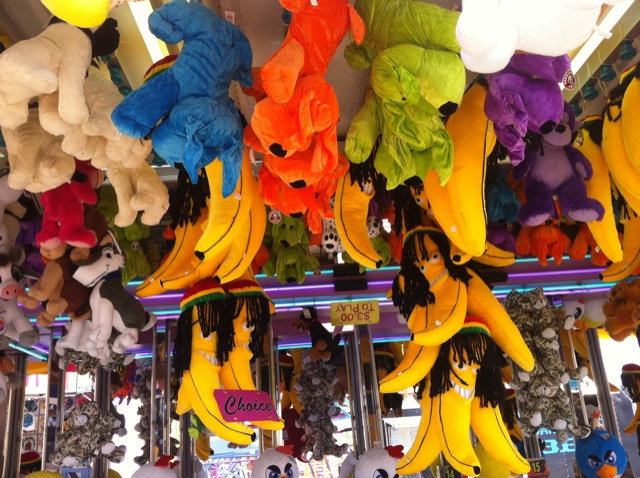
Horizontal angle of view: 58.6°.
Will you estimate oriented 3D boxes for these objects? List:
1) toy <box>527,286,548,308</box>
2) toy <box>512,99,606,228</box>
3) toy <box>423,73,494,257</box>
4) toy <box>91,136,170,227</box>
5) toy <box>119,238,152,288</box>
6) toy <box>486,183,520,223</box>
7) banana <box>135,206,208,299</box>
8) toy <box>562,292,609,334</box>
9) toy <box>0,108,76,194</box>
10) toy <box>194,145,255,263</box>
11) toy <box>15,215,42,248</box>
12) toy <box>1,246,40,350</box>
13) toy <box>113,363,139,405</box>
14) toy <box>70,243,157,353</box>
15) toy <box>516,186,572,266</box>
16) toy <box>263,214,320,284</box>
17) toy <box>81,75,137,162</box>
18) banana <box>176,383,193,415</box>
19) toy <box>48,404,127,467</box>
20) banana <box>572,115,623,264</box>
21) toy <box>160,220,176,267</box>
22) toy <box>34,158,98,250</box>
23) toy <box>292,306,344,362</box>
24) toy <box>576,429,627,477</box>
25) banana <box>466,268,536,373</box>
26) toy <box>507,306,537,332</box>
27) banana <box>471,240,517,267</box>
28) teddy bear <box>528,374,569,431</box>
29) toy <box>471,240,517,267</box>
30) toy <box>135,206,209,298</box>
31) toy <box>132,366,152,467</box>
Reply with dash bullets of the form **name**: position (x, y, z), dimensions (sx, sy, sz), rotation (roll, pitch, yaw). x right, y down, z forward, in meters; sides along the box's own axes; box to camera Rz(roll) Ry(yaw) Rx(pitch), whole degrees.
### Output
- **toy**: position (1.239, 0.349, 3.274), dimensions (0.082, 0.121, 0.045), rotation (-27, -10, -11)
- **toy**: position (1.099, -0.348, 2.644), dimensions (0.334, 0.610, 0.376), rotation (2, 5, 20)
- **toy**: position (0.568, -0.257, 2.293), dimensions (0.208, 0.893, 0.254), rotation (8, -8, -34)
- **toy**: position (-0.741, -0.228, 2.401), dimensions (0.298, 0.201, 0.524), rotation (17, -11, -1)
- **toy**: position (-1.021, 0.143, 3.143), dimensions (0.157, 0.241, 0.073), rotation (-15, 8, -43)
- **toy**: position (0.862, -0.159, 2.770), dimensions (0.188, 0.221, 0.092), rotation (0, 0, -33)
- **banana**: position (-0.702, 0.064, 2.678), dimensions (0.096, 0.506, 0.162), rotation (27, -6, 2)
- **toy**: position (1.919, 0.515, 4.025), dimensions (0.154, 0.248, 0.300), rotation (13, 17, 23)
- **toy**: position (-1.028, -0.290, 2.050), dimensions (0.182, 0.333, 0.122), rotation (-4, -22, -14)
- **toy**: position (-0.360, -0.098, 2.198), dimensions (0.161, 0.529, 0.110), rotation (7, -8, -15)
- **toy**: position (-1.413, -0.034, 2.772), dimensions (0.140, 0.182, 0.061), rotation (-1, 10, -15)
- **toy**: position (-1.411, 0.274, 2.689), dimensions (0.196, 0.435, 0.472), rotation (8, -24, -26)
- **toy**: position (-1.674, 1.252, 4.962), dimensions (0.087, 0.231, 0.182), rotation (31, -41, -27)
- **toy**: position (-1.004, 0.289, 2.725), dimensions (0.479, 0.640, 0.270), rotation (8, -13, -29)
- **toy**: position (1.170, -0.094, 3.023), dimensions (0.257, 0.462, 0.207), rotation (-3, 0, -3)
- **toy**: position (-0.153, 0.023, 3.020), dimensions (0.268, 0.448, 0.161), rotation (0, 16, 0)
- **toy**: position (-0.758, -0.407, 2.021), dimensions (0.081, 0.253, 0.242), rotation (-10, -48, 23)
- **banana**: position (-0.621, 0.729, 2.615), dimensions (0.063, 0.142, 0.046), rotation (1, -10, 15)
- **toy**: position (-1.585, 1.348, 3.864), dimensions (0.452, 0.487, 0.262), rotation (-1, -30, -27)
- **banana**: position (1.280, -0.248, 2.619), dimensions (0.132, 0.942, 0.229), rotation (6, -12, -16)
- **toy**: position (-0.820, 0.035, 3.065), dimensions (0.047, 0.255, 0.061), rotation (18, -26, -23)
- **toy**: position (-1.126, -0.132, 2.457), dimensions (0.237, 0.486, 0.154), rotation (-15, -32, -16)
- **toy**: position (-0.014, 0.676, 4.119), dimensions (0.282, 0.317, 0.532), rotation (-5, -22, 7)
- **toy**: position (1.821, 1.388, 3.707), dimensions (0.220, 0.272, 0.311), rotation (-1, -5, 16)
- **banana**: position (0.831, 0.372, 2.720), dimensions (0.180, 0.664, 0.139), rotation (34, -70, -26)
- **toy**: position (1.106, 0.438, 3.128), dimensions (0.106, 0.141, 0.082), rotation (-11, -43, -56)
- **banana**: position (0.821, 0.066, 2.700), dimensions (0.165, 0.062, 0.111), rotation (11, 9, -4)
- **teddy bear**: position (1.289, 0.933, 3.252), dimensions (0.242, 0.340, 0.172), rotation (-3, 12, -3)
- **toy**: position (0.818, 0.064, 2.694), dimensions (0.158, 0.112, 0.060), rotation (11, -53, -2)
- **toy**: position (-0.701, 0.063, 2.674), dimensions (0.115, 0.520, 0.170), rotation (34, -15, -20)
- **toy**: position (-1.427, 1.396, 4.546), dimensions (0.159, 0.737, 0.463), rotation (5, -22, -18)
